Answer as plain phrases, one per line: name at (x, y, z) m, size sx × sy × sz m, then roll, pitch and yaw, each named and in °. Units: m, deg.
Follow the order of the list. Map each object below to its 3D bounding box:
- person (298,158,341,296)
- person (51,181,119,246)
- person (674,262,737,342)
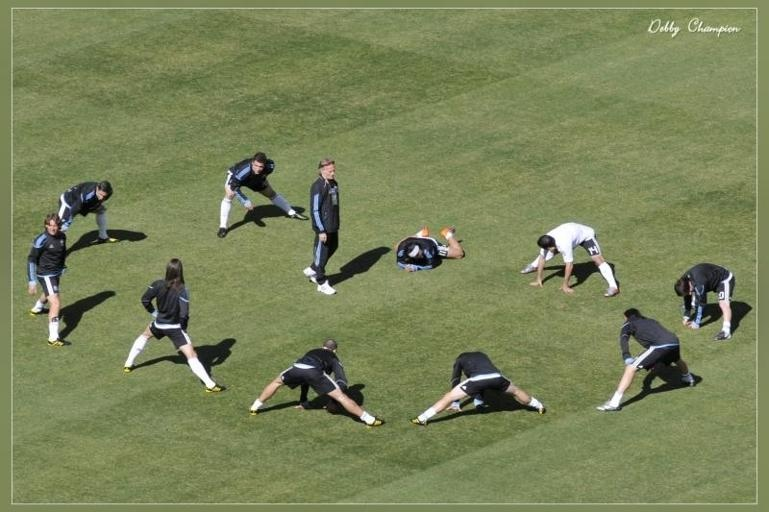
person at (-1.638, -0.812, 40.212) m, size 1.200 × 3.812 × 0.811 m, roll -13°, pitch 20°, yaw -7°
person at (-7.979, -1.206, 41.020) m, size 1.394 × 1.813 × 1.015 m, roll 1°, pitch 3°, yaw 27°
person at (8.567, 1.173, 39.503) m, size 1.572 × 2.068 × 1.131 m, roll -9°, pitch 19°, yaw 3°
